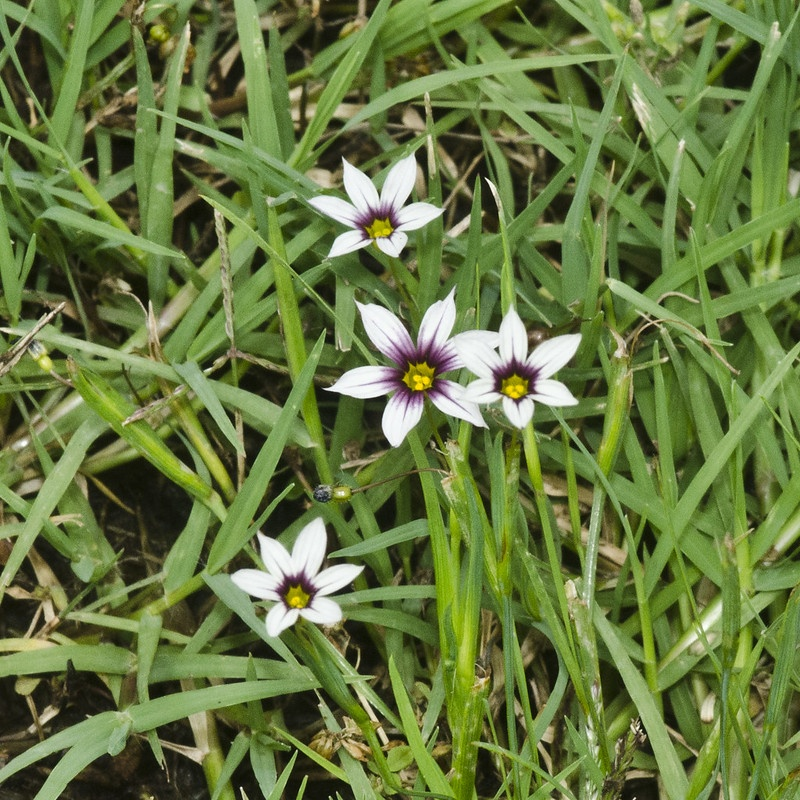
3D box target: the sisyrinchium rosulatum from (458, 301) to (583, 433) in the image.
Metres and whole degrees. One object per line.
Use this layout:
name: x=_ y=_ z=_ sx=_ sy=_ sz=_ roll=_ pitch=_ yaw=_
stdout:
sisyrinchium rosulatum: x=0.136 y=-0.032 z=1.178 sx=0.137 sy=0.184 sz=0.057 roll=2 pitch=42 yaw=6

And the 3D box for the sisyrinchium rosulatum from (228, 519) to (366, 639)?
sisyrinchium rosulatum: x=-0.114 y=0.222 z=1.232 sx=0.183 sy=0.165 sz=0.089 roll=4 pitch=84 yaw=30

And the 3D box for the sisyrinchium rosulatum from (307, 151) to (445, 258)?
sisyrinchium rosulatum: x=-0.028 y=-0.257 z=1.331 sx=0.165 sy=0.188 sz=0.088 roll=-12 pitch=73 yaw=28

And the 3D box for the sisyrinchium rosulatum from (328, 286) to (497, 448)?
sisyrinchium rosulatum: x=-0.001 y=-0.016 z=1.192 sx=0.169 sy=0.070 sz=0.200 roll=31 pitch=67 yaw=18
